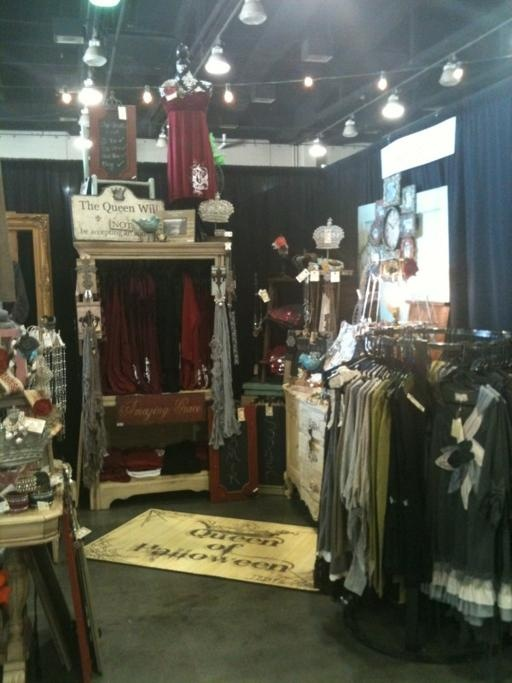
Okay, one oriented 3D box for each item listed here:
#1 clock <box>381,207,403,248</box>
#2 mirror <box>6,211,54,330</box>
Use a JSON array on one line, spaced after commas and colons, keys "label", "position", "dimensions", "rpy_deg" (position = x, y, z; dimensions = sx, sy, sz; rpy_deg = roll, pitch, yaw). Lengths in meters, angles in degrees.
[{"label": "clock", "position": [1.042, -0.876, 4.446], "dimensions": [0.046, 0.381, 0.313], "rpy_deg": [-3, 3, -18]}, {"label": "mirror", "position": [-1.711, -0.565, 4.433], "dimensions": [0.292, 0.833, 0.270], "rpy_deg": [-3, 3, -25]}]
